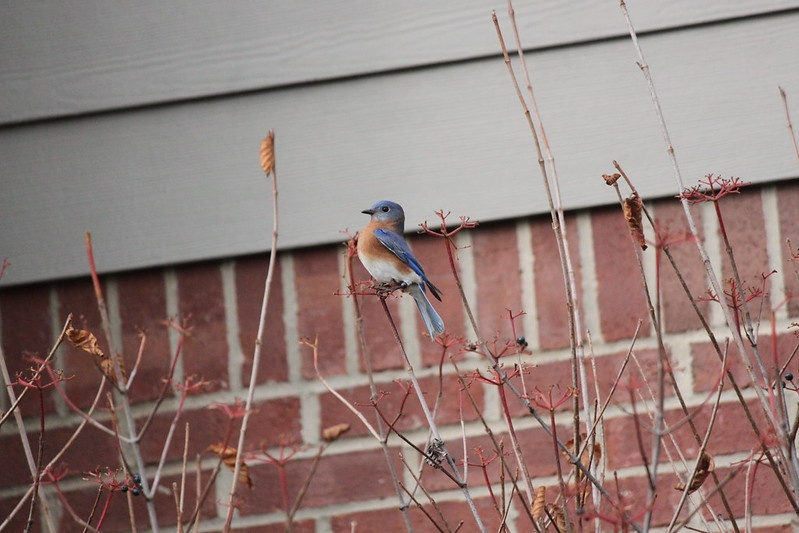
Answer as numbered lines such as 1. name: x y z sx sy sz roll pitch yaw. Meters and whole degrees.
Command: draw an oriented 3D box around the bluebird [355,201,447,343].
1. bluebird: -0.003 0.025 6.797 0.288 0.593 0.316 -9 -10 0
